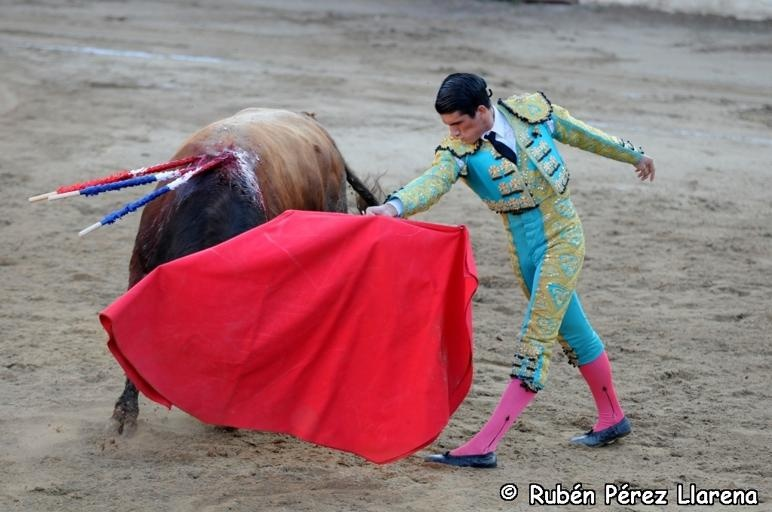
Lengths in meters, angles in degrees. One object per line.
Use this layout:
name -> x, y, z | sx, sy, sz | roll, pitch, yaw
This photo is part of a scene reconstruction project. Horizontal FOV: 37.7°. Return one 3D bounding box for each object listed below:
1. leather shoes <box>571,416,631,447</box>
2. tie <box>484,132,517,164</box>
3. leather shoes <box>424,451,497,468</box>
leather shoes -> 1.652, 1.369, 8.794 | 0.569, 0.171, 0.175 | -13, 14, 8
tie -> 0.848, -0.789, 8.329 | 0.112, 0.335, 0.087 | -53, 1, -7
leather shoes -> 0.560, 1.536, 8.545 | 0.536, 0.103, 0.156 | 3, -2, 4
